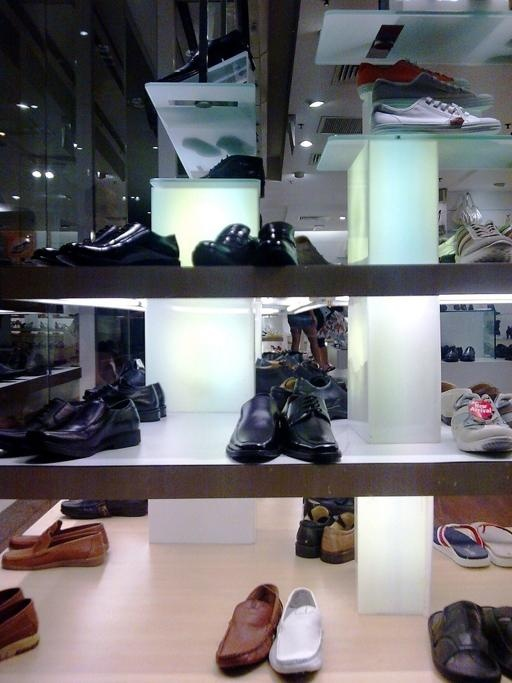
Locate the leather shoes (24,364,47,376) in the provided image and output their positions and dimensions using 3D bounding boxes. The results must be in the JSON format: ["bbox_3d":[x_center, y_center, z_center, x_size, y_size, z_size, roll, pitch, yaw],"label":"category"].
[{"bbox_3d":[-0.977,0.123,2.337,0.049,0.046,0.126,-2,0,-4],"label":"leather shoes"}]

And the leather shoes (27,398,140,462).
[{"bbox_3d":[-0.330,0.171,1.059,0.078,0.105,0.224,-4,-3,36],"label":"leather shoes"}]

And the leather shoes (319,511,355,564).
[{"bbox_3d":[0.238,0.567,1.529,0.060,0.080,0.175,0,0,18],"label":"leather shoes"}]

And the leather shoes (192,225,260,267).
[{"bbox_3d":[-0.052,-0.182,1.016,0.060,0.076,0.157,11,14,41],"label":"leather shoes"}]

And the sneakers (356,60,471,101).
[{"bbox_3d":[0.375,-0.641,1.301,0.265,0.112,0.102,-2,10,1],"label":"sneakers"}]

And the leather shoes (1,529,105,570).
[{"bbox_3d":[-0.562,0.592,1.544,0.288,0.129,0.114,1,-8,-4],"label":"leather shoes"}]

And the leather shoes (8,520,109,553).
[{"bbox_3d":[-0.561,0.544,1.554,0.304,0.126,0.111,2,-10,-6],"label":"leather shoes"}]

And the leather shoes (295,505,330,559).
[{"bbox_3d":[0.162,0.557,1.537,0.063,0.077,0.159,0,2,9],"label":"leather shoes"}]

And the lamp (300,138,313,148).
[{"bbox_3d":[0.409,-1.612,4.316,0.075,0.051,0.130,6,12,41],"label":"lamp"}]

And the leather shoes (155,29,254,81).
[{"bbox_3d":[-0.123,-0.725,1.347,0.220,0.147,0.177,0,9,8],"label":"leather shoes"}]

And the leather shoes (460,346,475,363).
[{"bbox_3d":[0.993,0.053,2.483,0.051,0.061,0.138,-2,-5,17],"label":"leather shoes"}]

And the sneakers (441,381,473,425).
[{"bbox_3d":[0.502,0.163,1.389,0.065,0.093,0.210,-1,0,10],"label":"sneakers"}]

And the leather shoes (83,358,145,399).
[{"bbox_3d":[-0.372,0.102,1.457,0.097,0.119,0.282,-3,-3,12],"label":"leather shoes"}]

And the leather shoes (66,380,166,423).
[{"bbox_3d":[-0.340,0.152,1.328,0.232,0.112,0.096,5,-10,-13],"label":"leather shoes"}]
